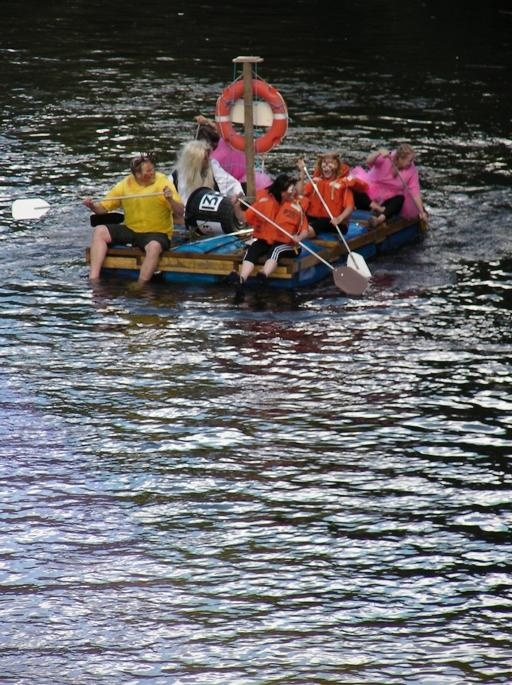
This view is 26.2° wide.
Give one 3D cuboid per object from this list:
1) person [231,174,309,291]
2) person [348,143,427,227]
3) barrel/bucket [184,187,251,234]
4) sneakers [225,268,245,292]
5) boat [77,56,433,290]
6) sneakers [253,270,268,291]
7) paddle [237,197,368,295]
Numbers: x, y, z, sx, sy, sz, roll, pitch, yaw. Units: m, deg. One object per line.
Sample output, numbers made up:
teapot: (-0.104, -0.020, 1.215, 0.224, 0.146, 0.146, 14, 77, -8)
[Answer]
person: (0.164, -1.099, 10.646, 0.629, 0.648, 1.154, 17, 47, 15)
person: (1.531, -1.729, 12.336, 1.211, 0.833, 0.939, 5, 19, -2)
barrel/bucket: (-0.447, -1.354, 11.290, 0.478, 0.462, 0.517, 5, 13, -1)
sneakers: (-0.195, -0.605, 10.493, 0.088, 0.238, 0.162, -27, 50, 10)
boat: (0.216, -1.560, 11.897, 2.308, 1.486, 3.384, 6, 16, 24)
sneakers: (0.046, -0.580, 10.398, 0.093, 0.248, 0.104, 18, 57, 12)
paddle: (0.420, -0.926, 10.792, 1.415, 0.056, 0.289, 33, 70, 13)
